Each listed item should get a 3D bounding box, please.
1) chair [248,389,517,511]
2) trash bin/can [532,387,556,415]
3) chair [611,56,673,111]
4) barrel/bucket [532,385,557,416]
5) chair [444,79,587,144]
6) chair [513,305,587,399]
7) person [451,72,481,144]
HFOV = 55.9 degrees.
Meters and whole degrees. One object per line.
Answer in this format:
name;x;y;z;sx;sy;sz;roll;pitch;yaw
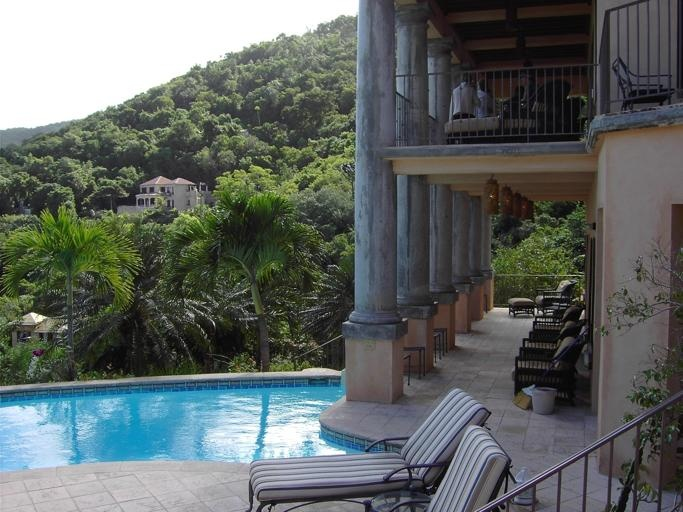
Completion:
chair;0.300;2.007;6.325;2.290;1.120;0.767;-1;6;-9
trash bin/can;3.037;2.161;9.661;0.328;0.346;0.293;2;7;17
chair;3.788;-2.211;8.087;0.653;0.772;2.173;3;8;27
barrel/bucket;3.030;2.161;9.597;0.308;0.332;0.346;3;-13;2
chair;2.829;-2.758;11.889;2.177;1.506;3.459;-1;3;18
chair;3.567;1.656;10.759;1.214;1.854;1.234;0;-1;-20
person;2.149;-2.583;11.231;0.424;1.180;0.568;1;5;18
